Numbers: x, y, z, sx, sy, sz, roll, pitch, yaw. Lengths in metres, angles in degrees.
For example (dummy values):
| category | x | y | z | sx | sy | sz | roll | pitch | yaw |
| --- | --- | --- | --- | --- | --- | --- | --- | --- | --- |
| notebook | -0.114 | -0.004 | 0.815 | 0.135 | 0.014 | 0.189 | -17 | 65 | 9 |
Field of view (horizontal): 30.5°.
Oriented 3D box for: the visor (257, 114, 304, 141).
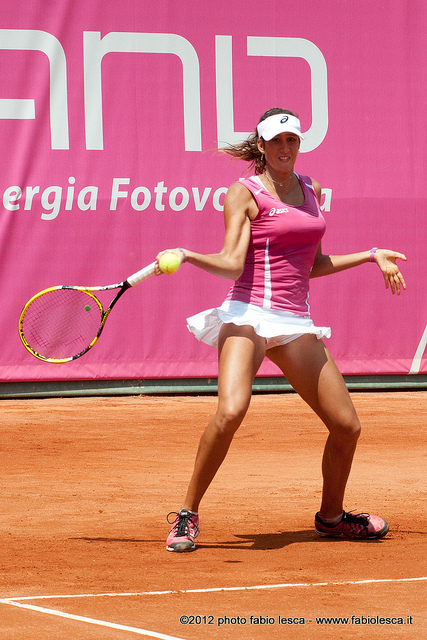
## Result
| category | x | y | z | sx | sy | sz | roll | pitch | yaw |
| --- | --- | --- | --- | --- | --- | --- | --- | --- | --- |
| visor | 0.244 | -0.725 | 2.952 | 0.169 | 0.103 | 0.164 | 1 | 4 | 8 |

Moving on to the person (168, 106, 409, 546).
| category | x | y | z | sx | sy | sz | roll | pitch | yaw |
| --- | --- | --- | --- | --- | --- | --- | --- | --- | --- |
| person | 0.220 | 0.031 | 2.927 | 0.838 | 1.668 | 0.375 | -1 | 4 | -30 |

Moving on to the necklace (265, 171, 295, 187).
| category | x | y | z | sx | sy | sz | roll | pitch | yaw |
| --- | --- | --- | --- | --- | --- | --- | --- | --- | --- |
| necklace | 0.242 | -0.531 | 2.948 | 0.094 | 0.060 | 0.058 | 1 | 4 | 2 |

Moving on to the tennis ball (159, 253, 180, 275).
| category | x | y | z | sx | sy | sz | roll | pitch | yaw |
| --- | --- | --- | --- | --- | --- | --- | --- | --- | --- |
| tennis ball | -0.147 | -0.179 | 2.611 | 0.063 | 0.076 | 0.064 | 1 | -31 | 1 |
